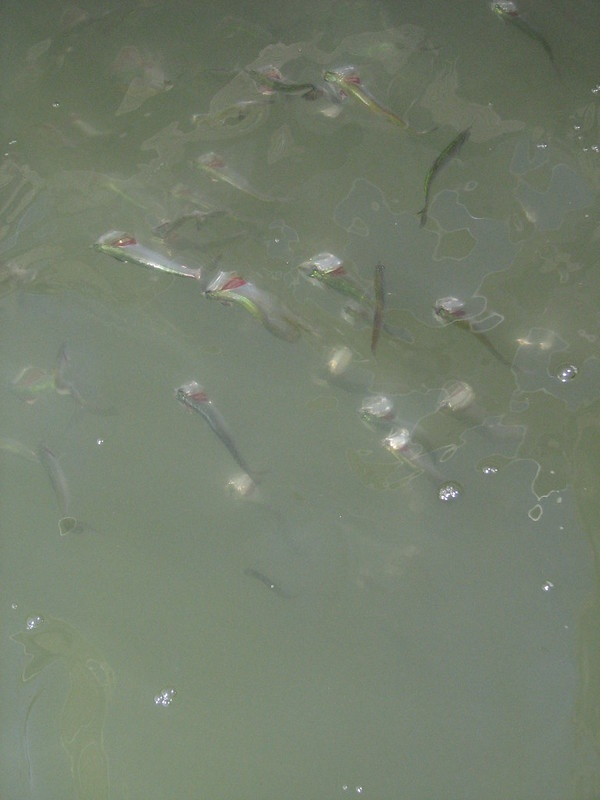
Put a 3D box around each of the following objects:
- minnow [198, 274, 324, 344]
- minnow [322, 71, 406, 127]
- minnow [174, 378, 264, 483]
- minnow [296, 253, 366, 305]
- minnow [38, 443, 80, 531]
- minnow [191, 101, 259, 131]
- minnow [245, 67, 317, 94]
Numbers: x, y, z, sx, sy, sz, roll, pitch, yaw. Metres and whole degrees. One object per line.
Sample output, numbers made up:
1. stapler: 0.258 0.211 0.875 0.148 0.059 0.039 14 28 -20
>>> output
1. minnow: -0.042 -0.101 1.016 0.147 0.036 0.046 28 80 -4
2. minnow: 0.075 -0.340 1.060 0.087 0.033 0.018 29 86 -2
3. minnow: -0.088 0.033 1.034 0.043 0.028 0.156 -44 80 -1
4. minnow: 0.039 -0.131 1.015 0.035 0.026 0.077 -36 59 -29
5. minnow: -0.249 0.093 1.002 0.034 0.018 0.091 -20 83 -3
6. minnow: -0.082 -0.322 1.064 0.076 0.024 0.023 -11 52 -13
7. minnow: -0.023 -0.358 1.067 0.087 0.016 0.023 13 93 -2
